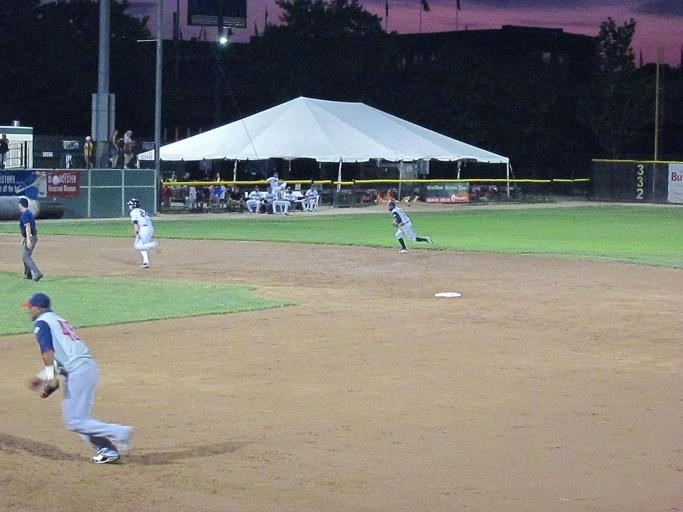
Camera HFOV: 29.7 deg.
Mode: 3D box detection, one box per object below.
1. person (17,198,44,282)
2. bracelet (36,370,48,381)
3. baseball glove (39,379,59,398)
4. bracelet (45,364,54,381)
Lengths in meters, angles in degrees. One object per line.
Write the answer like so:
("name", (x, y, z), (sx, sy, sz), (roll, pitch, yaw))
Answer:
("person", (-8.496, -0.383, 35.148), (0.560, 2.311, 0.842), (-4, 1, -20))
("bracelet", (-5.270, 2.176, 22.771), (0.159, 0.156, 0.100), (17, -12, 44))
("baseball glove", (-5.140, 2.393, 22.850), (0.268, 0.415, 0.166), (39, -15, 0))
("bracelet", (-5.163, 2.107, 22.743), (0.161, 0.273, 0.115), (0, 3, -14))
